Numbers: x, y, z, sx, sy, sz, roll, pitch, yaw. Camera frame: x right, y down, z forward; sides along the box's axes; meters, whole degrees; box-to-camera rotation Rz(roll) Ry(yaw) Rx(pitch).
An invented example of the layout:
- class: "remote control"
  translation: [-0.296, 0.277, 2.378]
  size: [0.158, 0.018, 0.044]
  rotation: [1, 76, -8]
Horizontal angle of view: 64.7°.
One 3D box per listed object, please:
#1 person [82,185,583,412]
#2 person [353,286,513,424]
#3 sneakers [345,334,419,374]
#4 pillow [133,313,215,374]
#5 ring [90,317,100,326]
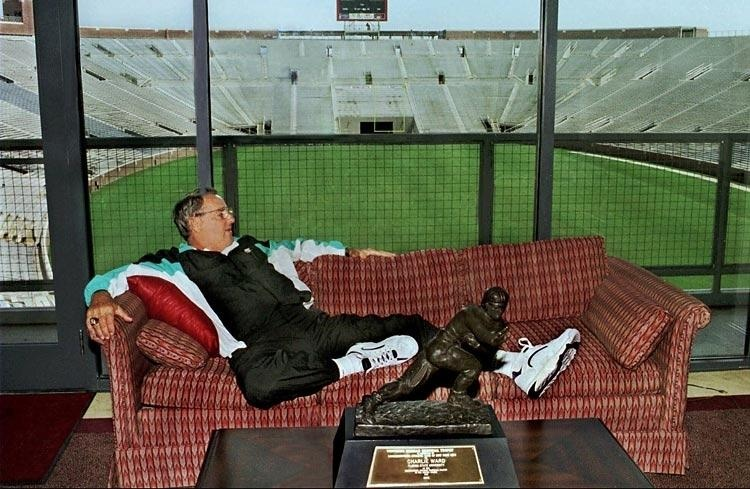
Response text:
- class: "person"
  translation: [-0.239, 0.419, 3.150]
  size: [1.694, 0.668, 1.548]
  rotation: [14, 21, 28]
- class: "person"
  translation: [0.281, 0.524, 2.809]
  size: [0.796, 0.509, 0.333]
  rotation: [-11, -3, 14]
- class: "sneakers"
  translation: [0.020, 0.576, 3.147]
  size: [0.457, 0.150, 0.180]
  rotation: [-10, 0, -2]
- class: "pillow"
  translation: [-1.026, 0.514, 2.997]
  size: [0.340, 0.195, 0.120]
  rotation: [35, -38, -29]
- class: "ring"
  translation: [-1.366, 0.378, 2.877]
  size: [0.043, 0.030, 0.019]
  rotation: [-1, 2, 8]
